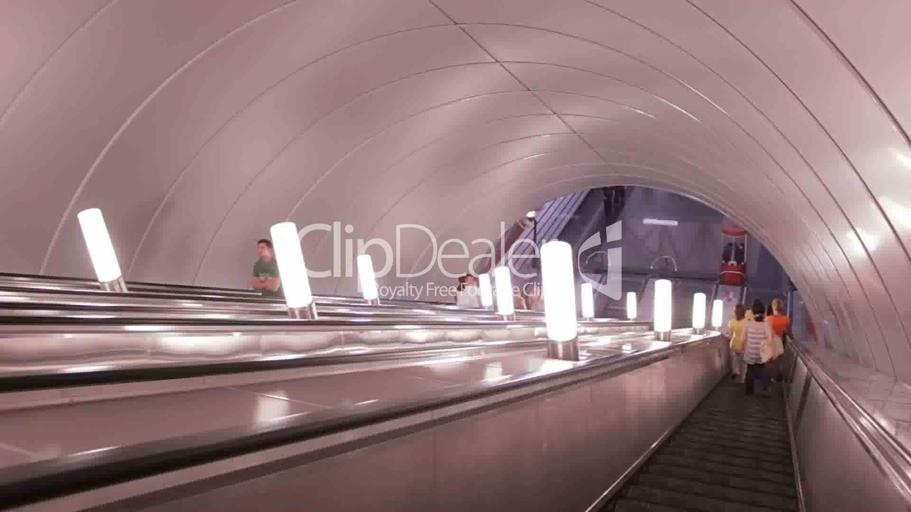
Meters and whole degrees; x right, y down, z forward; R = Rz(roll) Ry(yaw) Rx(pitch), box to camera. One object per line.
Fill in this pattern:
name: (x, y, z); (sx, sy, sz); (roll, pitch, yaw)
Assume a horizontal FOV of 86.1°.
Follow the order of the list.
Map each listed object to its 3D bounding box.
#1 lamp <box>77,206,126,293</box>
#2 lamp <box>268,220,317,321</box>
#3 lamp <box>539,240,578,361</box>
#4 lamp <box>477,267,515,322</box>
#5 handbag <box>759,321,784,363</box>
lamp: (-6.839, -0.150, 9.572); (0.718, 1.617, 0.950); (2, -4, -44)
lamp: (-2.866, 0.241, 8.762); (0.731, 1.744, 1.128); (0, -3, -19)
lamp: (1.392, 0.568, 6.562); (0.448, 1.609, 0.515); (-2, -3, 12)
lamp: (1.418, 1.081, 14.495); (0.489, 1.591, 1.228); (-1, -3, 1)
handbag: (8.050, 2.184, 12.556); (0.375, 1.099, 1.436); (-3, -4, 36)
